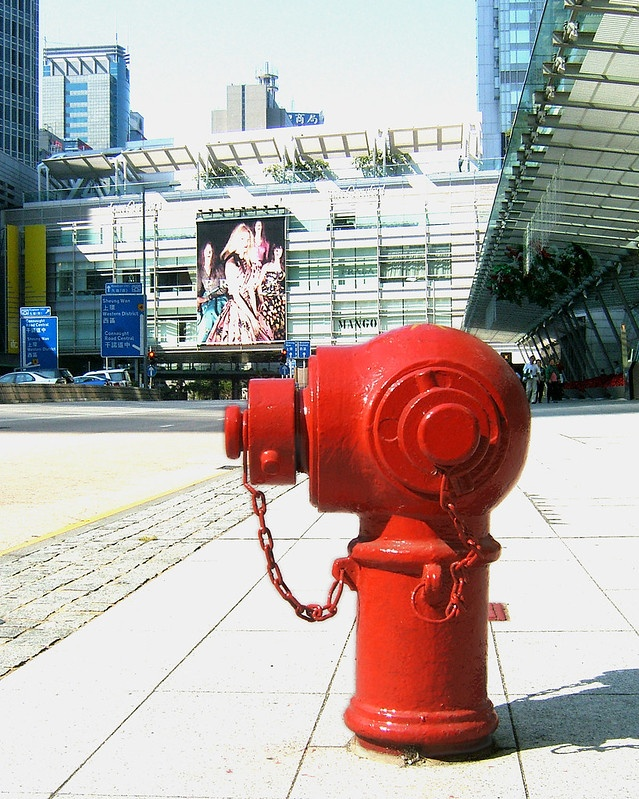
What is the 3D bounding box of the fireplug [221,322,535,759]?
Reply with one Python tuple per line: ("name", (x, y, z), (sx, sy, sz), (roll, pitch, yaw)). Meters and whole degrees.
("fireplug", (0.180, 0.374, 2.384), (0.753, 1.166, 0.415), (-2, 2, 22))
